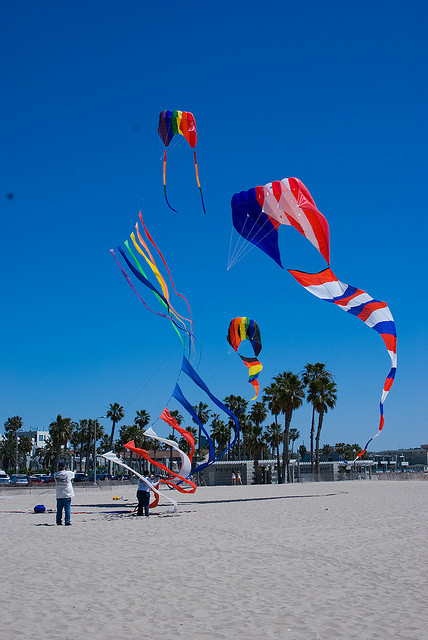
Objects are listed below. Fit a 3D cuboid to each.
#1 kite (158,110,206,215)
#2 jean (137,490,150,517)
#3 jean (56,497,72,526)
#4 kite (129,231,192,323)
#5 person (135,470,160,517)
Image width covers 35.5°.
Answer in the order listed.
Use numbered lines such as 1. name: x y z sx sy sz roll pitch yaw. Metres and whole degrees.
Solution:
1. kite: -0.959 -4.463 19.130 1.165 4.173 0.453 5 -36 -14
2. jean: -1.797 4.618 16.886 0.327 0.634 0.460 4 -11 -7
3. jean: -3.169 4.063 14.250 0.338 0.581 0.864 5 -12 -12
4. kite: -1.068 -0.777 11.947 0.202 2.690 0.278 -11 -10 -46
5. person: -1.747 4.391 16.928 0.408 1.094 1.607 3 -12 -5
